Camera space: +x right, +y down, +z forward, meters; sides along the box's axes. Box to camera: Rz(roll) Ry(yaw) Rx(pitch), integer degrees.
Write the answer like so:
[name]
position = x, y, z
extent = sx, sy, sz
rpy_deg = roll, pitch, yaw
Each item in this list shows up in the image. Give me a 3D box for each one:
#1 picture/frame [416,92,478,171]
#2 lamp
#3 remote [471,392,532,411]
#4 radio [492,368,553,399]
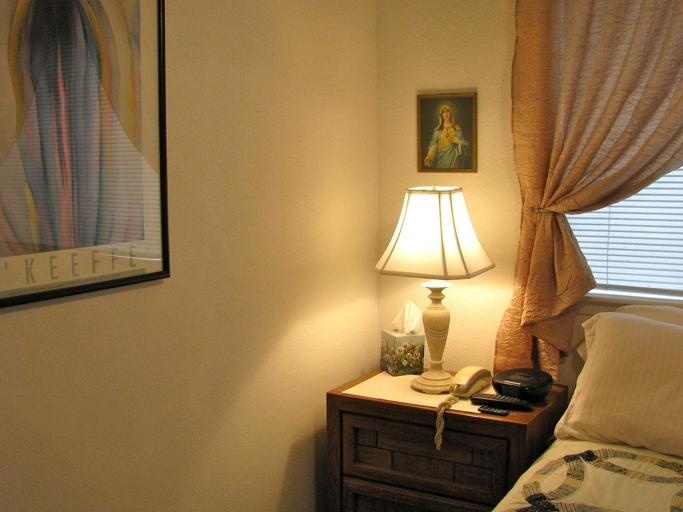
[picture/frame]
position = 0.504, -0.579, 2.591
extent = 0.302, 0.371, 0.025
rpy_deg = 1, 12, 8
[lamp]
position = 0.379, 0.121, 2.383
extent = 0.355, 0.873, 0.475
rpy_deg = 1, 2, 33
[remote]
position = 0.616, 0.544, 2.117
extent = 0.161, 0.032, 0.079
rpy_deg = 0, 2, 30
[radio]
position = 0.742, 0.527, 2.222
extent = 0.227, 0.084, 0.233
rpy_deg = -1, 5, 21
